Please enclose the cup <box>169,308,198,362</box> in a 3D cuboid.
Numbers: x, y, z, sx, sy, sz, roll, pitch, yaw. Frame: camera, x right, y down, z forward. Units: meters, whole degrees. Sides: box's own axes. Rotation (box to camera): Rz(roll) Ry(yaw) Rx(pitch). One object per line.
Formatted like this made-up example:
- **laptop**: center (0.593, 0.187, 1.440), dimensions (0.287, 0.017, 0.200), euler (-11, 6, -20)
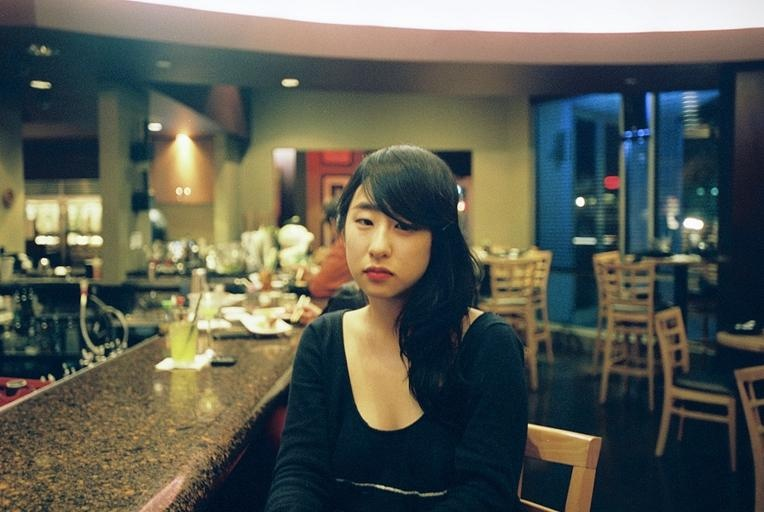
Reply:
- **cup**: center (-0.739, 0.294, 2.389), dimensions (0.090, 0.183, 0.158), euler (-2, 2, -14)
